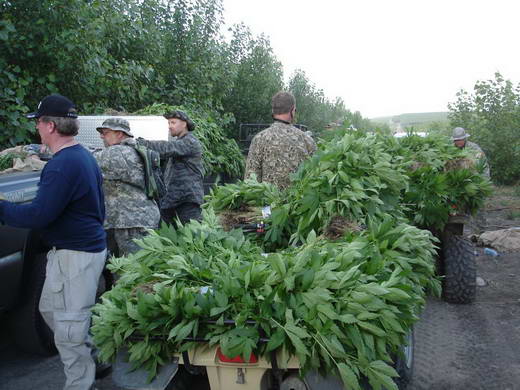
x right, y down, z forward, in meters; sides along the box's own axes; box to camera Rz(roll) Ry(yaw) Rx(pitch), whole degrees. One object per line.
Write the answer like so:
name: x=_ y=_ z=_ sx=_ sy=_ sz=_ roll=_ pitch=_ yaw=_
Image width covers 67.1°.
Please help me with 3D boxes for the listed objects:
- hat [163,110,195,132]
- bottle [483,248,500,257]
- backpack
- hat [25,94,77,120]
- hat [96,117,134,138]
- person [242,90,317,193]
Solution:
hat: x=-1.214 y=-1.160 z=5.918 sx=0.394 sy=0.176 sz=0.344 roll=17 pitch=2 yaw=-9
bottle: x=4.932 y=1.207 z=8.335 sx=0.285 sy=0.125 sz=0.573 roll=4 pitch=9 yaw=30
backpack: x=-1.481 y=-0.253 z=4.977 sx=0.691 sy=0.706 sz=0.472 roll=-2 pitch=-4 yaw=-3
hat: x=-1.961 y=-0.780 z=3.554 sx=0.417 sy=0.203 sz=0.256 roll=-7 pitch=4 yaw=-39
hat: x=-1.738 y=-0.769 z=4.776 sx=0.320 sy=0.143 sz=0.297 roll=1 pitch=-15 yaw=25
person: x=0.232 y=-0.667 z=4.652 sx=0.849 sy=1.157 sz=0.568 roll=0 pitch=8 yaw=4
